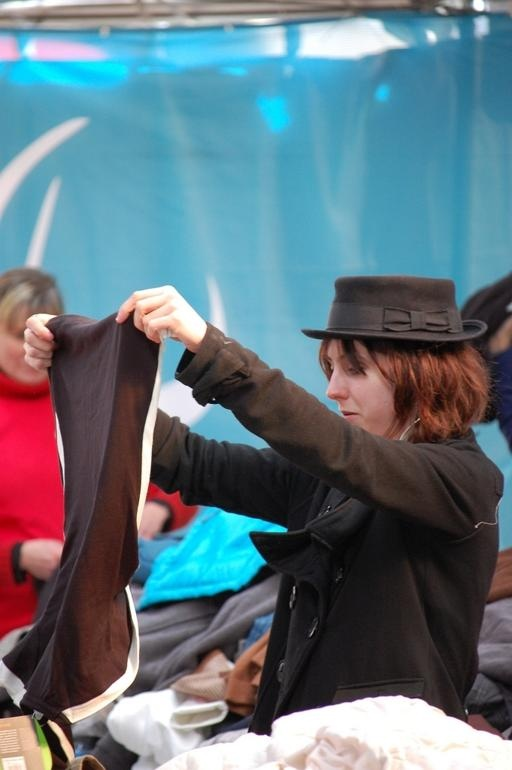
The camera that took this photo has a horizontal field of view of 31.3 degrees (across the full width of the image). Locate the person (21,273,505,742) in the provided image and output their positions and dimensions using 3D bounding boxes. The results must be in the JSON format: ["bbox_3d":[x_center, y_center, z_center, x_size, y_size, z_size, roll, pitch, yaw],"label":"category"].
[{"bbox_3d":[0.114,0.201,1.515,0.609,0.729,0.508,-7,0,8],"label":"person"}]

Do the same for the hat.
[{"bbox_3d":[0.240,-0.145,1.610,0.352,0.103,0.301,7,16,32],"label":"hat"}]
